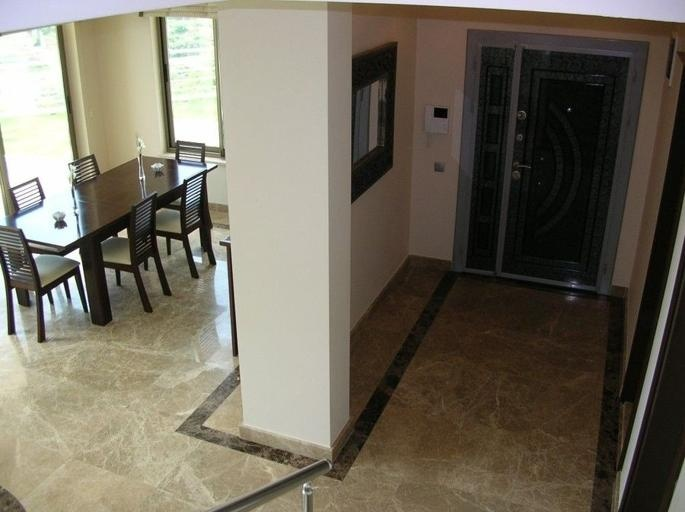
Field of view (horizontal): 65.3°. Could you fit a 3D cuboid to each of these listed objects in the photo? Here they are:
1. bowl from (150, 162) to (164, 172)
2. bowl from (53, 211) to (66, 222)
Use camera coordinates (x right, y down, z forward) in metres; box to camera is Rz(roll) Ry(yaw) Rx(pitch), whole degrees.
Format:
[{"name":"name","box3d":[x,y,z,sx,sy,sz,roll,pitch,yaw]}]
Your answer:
[{"name":"bowl","box3d":[-2.152,-1.033,6.203,0.130,0.065,0.146,0,33,-4]},{"name":"bowl","box3d":[-2.652,-0.377,4.995,0.097,0.075,0.155,-10,25,-23]}]
